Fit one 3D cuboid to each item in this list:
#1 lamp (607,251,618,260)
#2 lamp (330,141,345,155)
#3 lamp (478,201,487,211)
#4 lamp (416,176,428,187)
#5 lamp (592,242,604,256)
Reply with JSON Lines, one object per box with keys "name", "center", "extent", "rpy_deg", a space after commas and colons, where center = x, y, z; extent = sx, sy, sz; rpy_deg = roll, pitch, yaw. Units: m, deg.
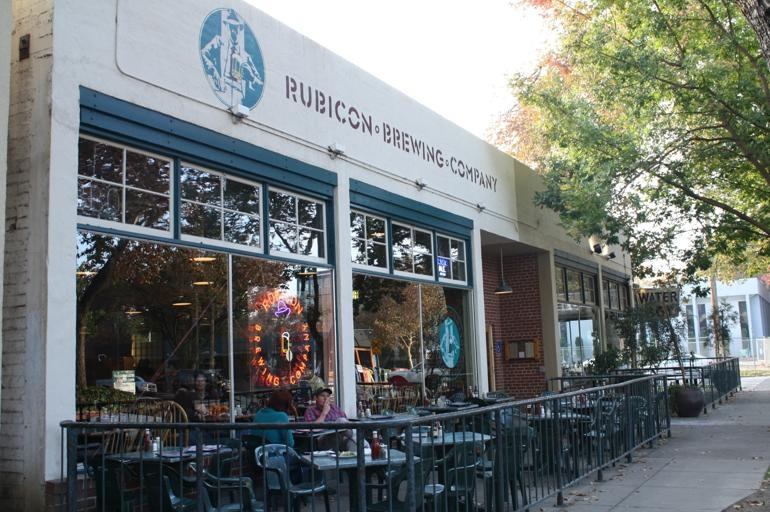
{"name": "lamp", "center": [9.470, -0.029, 28.446], "extent": [0.249, 0.099, 0.273], "rpy_deg": [-35, -47, 19]}
{"name": "lamp", "center": [-0.968, -2.271, 14.292], "extent": [0.139, 0.255, 0.462], "rpy_deg": [-15, -13, 31]}
{"name": "lamp", "center": [2.714, -1.364, 18.975], "extent": [0.202, 0.308, 0.346], "rpy_deg": [3, 3, 25]}
{"name": "lamp", "center": [0.913, -1.811, 16.750], "extent": [0.162, 0.273, 0.483], "rpy_deg": [-15, -13, 28]}
{"name": "lamp", "center": [8.285, -0.275, 26.678], "extent": [0.477, 0.450, 0.418], "rpy_deg": [2, -7, -10]}
